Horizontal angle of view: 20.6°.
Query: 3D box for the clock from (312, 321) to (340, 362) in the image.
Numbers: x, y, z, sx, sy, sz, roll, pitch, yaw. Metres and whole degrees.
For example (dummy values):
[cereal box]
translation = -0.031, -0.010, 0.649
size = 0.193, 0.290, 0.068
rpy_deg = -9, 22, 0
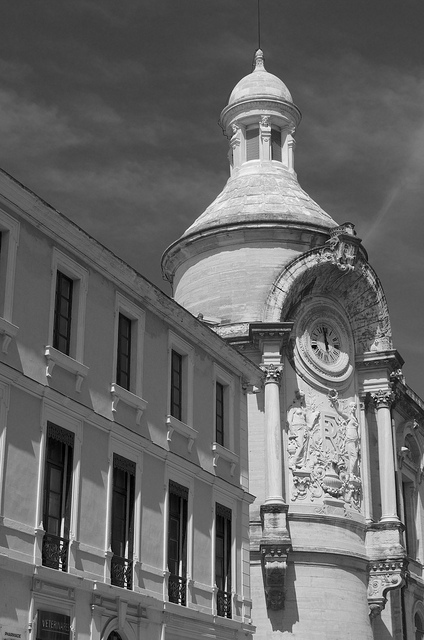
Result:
[clock]
translation = 4.277, 0.839, 43.851
size = 0.224, 1.670, 1.538
rpy_deg = -17, -26, 40
